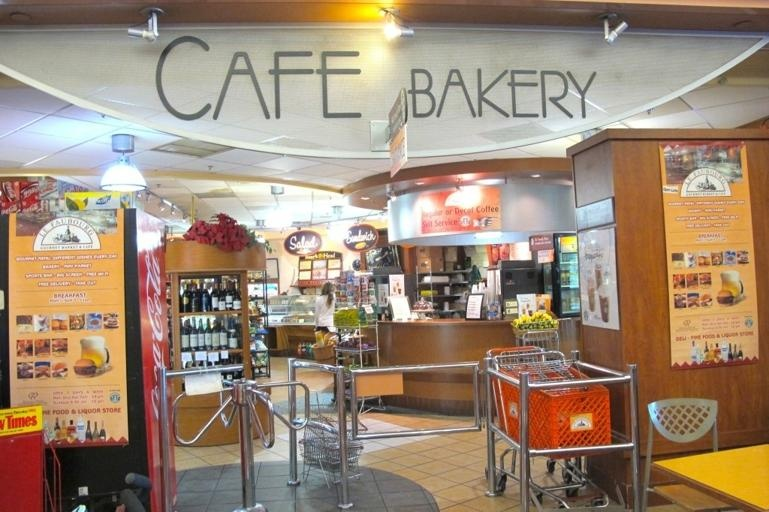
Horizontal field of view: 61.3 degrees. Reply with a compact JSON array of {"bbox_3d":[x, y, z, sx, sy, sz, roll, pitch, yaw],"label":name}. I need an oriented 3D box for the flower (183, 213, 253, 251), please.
[{"bbox_3d":[-2.114,-0.303,8.188,0.642,0.279,0.582,3,5,16],"label":"flower"}]

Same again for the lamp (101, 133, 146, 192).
[{"bbox_3d":[-3.329,-1.231,8.221,0.656,0.612,0.615,4,1,4],"label":"lamp"}]

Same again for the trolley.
[{"bbox_3d":[1.501,1.648,5.895,1.057,1.460,1.439,-2,1,7],"label":"trolley"}]

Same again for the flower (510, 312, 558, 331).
[{"bbox_3d":[2.101,0.876,8.827,0.695,0.211,0.369,-2,1,-20],"label":"flower"}]

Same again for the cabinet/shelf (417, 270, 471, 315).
[{"bbox_3d":[1.437,0.931,14.617,1.357,1.145,0.397,-2,-5,43],"label":"cabinet/shelf"}]

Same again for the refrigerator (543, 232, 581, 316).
[{"bbox_3d":[3.260,0.330,11.690,0.642,1.479,0.301,-3,2,-33],"label":"refrigerator"}]

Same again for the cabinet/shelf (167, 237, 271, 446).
[{"bbox_3d":[-2.094,1.053,8.101,1.150,1.775,0.848,-3,1,-19],"label":"cabinet/shelf"}]
